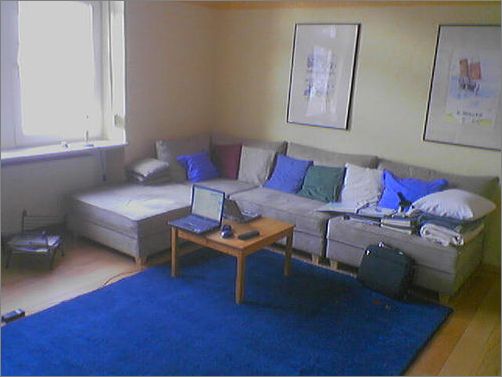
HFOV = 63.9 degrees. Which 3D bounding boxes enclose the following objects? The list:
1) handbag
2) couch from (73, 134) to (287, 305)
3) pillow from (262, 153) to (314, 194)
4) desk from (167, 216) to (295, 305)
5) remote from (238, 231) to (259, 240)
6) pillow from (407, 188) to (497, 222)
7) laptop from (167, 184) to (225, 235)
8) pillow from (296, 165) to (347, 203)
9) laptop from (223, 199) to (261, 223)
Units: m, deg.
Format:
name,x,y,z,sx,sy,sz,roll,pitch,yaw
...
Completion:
name,x,y,z,sx,sy,sz,roll,pitch,yaw
handbag,1.308,0.805,3.803,0.445,0.442,0.240,18,3,37
couch,-1.093,0.210,4.529,1.806,1.091,2.072,12,16,41
pillow,0.468,-0.175,5.021,0.510,0.478,0.151,18,-5,44
desk,-0.203,0.485,3.883,0.866,0.548,0.882,10,17,37
remote,-0.016,0.429,3.672,0.234,0.036,0.118,-8,18,-31
pillow,1.908,0.164,3.838,0.456,0.140,0.422,-11,15,-18
laptop,-0.442,0.216,3.907,0.556,0.449,0.416,13,7,37
pillow,0.862,-0.053,4.777,0.475,0.444,0.144,16,-3,37
laptop,-0.103,0.200,4.019,0.254,0.202,0.286,19,26,40
